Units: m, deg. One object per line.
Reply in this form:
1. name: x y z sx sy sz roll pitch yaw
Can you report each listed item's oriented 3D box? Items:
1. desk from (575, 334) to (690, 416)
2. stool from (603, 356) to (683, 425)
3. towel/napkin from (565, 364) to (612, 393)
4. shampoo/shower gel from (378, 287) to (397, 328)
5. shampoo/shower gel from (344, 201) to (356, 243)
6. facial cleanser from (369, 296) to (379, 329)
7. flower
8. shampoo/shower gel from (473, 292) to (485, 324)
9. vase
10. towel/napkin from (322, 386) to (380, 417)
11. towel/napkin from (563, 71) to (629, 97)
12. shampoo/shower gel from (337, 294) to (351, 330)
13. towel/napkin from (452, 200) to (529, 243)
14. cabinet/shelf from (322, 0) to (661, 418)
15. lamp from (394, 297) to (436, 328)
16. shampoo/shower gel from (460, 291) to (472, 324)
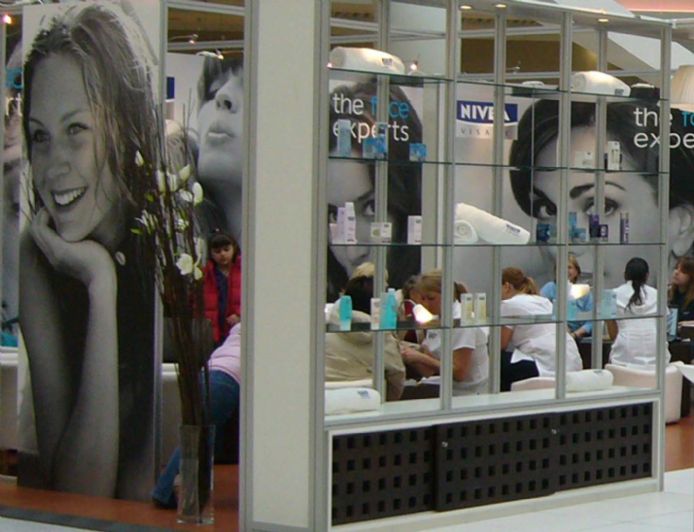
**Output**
1. desk: 2.677 0.970 7.968 0.909 0.984 0.972 -8 -9 44
2. stool: 2.457 1.055 6.945 0.549 0.560 0.563 -10 -13 37
3. towel/napkin: 1.706 0.802 5.921 0.293 0.154 0.155 -3 -15 -16
4. shampoo/shower gel: 0.262 0.280 5.356 0.097 0.234 0.153 3 6 27
5. shampoo/shower gel: 0.016 -0.276 5.254 0.069 0.250 0.121 0 5 -3
6. facial cleanser: 0.176 0.297 5.330 0.057 0.195 0.108 0 5 1
7. flower: -1.164 0.313 5.847 0.640 2.578 1.027 -1 5 -9
8. shampoo/shower gel: 0.896 0.275 5.617 0.088 0.200 0.054 -2 5 -27
9. vase: -0.998 1.348 5.497 0.236 0.650 0.133 -1 5 -10
10. towel/napkin: 0.032 0.844 5.309 0.259 0.095 0.161 0 0 -24
11. towel/napkin: 1.763 -1.268 5.849 0.297 0.113 0.205 0 6 -42
12. shampoo/shower gel: -0.020 0.280 5.280 0.096 0.215 0.188 0 5 -1
13. towel/napkin: 0.969 -0.309 5.761 0.407 0.142 0.169 21 -4 -10
14. cabinet/shelf: 0.968 -0.371 5.922 2.708 3.094 0.898 -1 2 -38
15. lamp: 0.454 0.314 5.605 0.213 0.151 0.220 19 -7 -10
16. shampoo/shower gel: 0.808 0.278 5.596 0.094 0.198 0.058 -1 5 -8
